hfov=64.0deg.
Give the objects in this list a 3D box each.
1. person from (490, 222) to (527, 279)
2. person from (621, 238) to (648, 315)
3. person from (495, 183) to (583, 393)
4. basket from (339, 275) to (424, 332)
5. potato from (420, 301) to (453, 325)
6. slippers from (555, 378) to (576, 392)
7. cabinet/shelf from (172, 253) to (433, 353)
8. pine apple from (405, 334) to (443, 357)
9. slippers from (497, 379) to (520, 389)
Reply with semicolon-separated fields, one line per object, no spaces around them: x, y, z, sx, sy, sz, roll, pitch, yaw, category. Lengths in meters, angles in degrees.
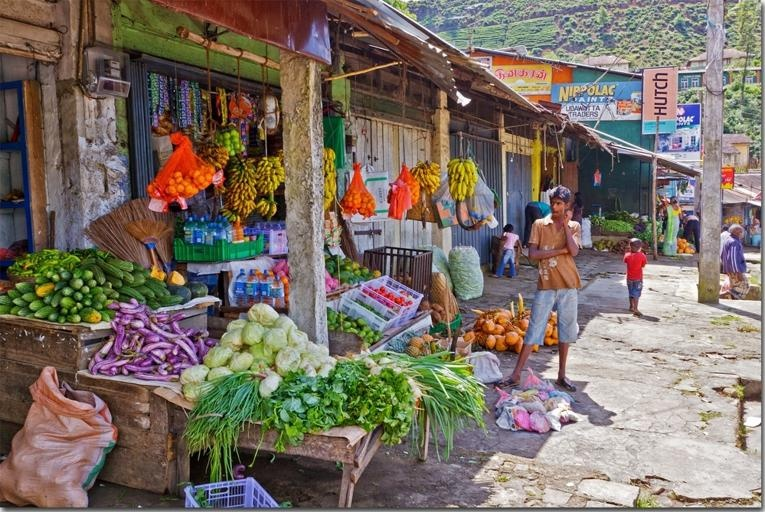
2.696;-0.075;13.256;0.580;1.456;0.490;2;5;32;person
4.289;0.267;10.476;0.293;1.305;1.580;4;12;22;person
1.866;0.348;6.865;0.656;2.222;0.621;3;12;18;person
0.031;0.578;7.103;0.532;0.275;0.849;33;23;13;basket
0.751;0.788;8.608;0.412;0.181;0.298;29;3;-39;potato
2.066;1.461;6.883;0.091;0.093;0.230;-1;4;-38;slippers
-0.343;0.495;7.588;4.063;1.493;1.799;-2;0;6;cabinet/shelf
0.473;1.029;6.942;0.214;0.137;0.275;-8;0;28;pine apple
1.411;1.452;6.876;0.227;0.087;0.108;4;-5;-14;slippers
